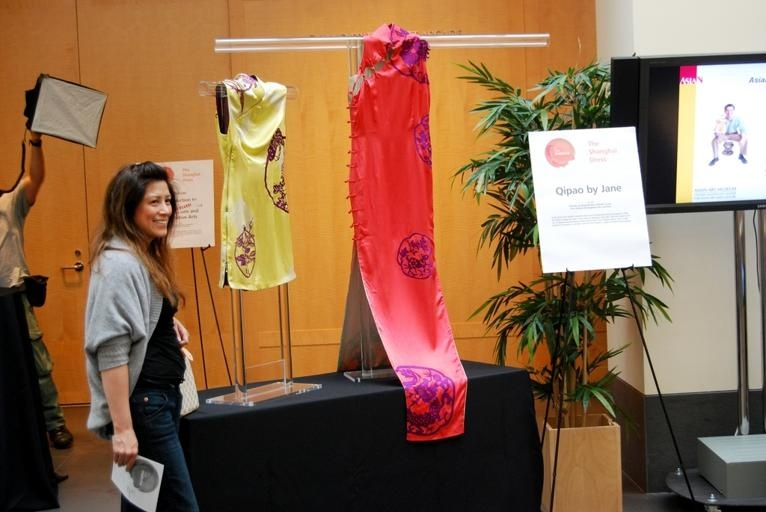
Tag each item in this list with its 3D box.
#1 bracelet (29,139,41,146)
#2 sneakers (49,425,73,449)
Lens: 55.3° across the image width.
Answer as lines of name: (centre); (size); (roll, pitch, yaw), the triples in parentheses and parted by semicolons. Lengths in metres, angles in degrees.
bracelet: (-2.531, -0.813, 5.318); (0.073, 0.047, 0.132); (-9, 8, -29)
sneakers: (-2.530, 1.443, 5.734); (0.097, 0.126, 0.265); (0, -8, -31)
